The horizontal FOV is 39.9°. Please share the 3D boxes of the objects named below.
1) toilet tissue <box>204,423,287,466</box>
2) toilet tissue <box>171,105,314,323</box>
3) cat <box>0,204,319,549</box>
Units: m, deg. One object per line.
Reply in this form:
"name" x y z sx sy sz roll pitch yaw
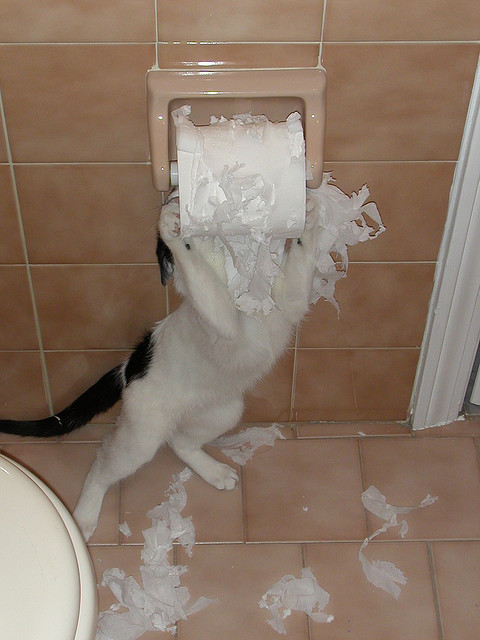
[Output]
"toilet tissue" 0.013 0.284 1.537 0.175 0.072 0.028 -7 -46 -13
"toilet tissue" 0.014 -0.156 0.994 0.218 0.143 0.274 -1 -86 -5
"cat" -0.193 0.125 1.204 0.624 0.276 0.721 2 -45 0
